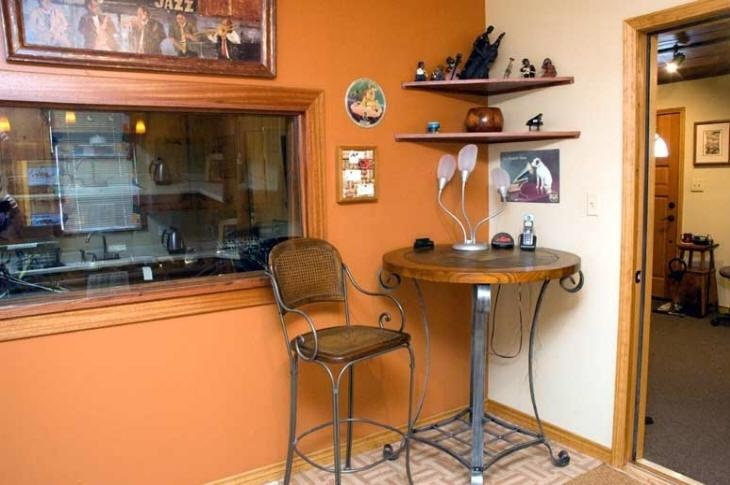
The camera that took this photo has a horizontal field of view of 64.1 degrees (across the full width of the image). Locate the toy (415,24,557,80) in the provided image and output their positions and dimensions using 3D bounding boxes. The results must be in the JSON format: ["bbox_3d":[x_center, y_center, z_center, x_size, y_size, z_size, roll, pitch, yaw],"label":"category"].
[{"bbox_3d":[0.845,-1.359,4.190,0.979,0.399,0.461,-1,12,4],"label":"toy"}]

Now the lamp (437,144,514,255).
[{"bbox_3d":[0.825,-0.332,4.164,0.630,0.738,0.485,-8,14,-28],"label":"lamp"}]

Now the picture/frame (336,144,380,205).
[{"bbox_3d":[-0.060,-0.466,3.929,0.386,0.457,0.060,-5,9,-31],"label":"picture/frame"}]

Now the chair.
[{"bbox_3d":[-0.111,0.772,3.642,0.912,1.571,0.958,-4,12,-9],"label":"chair"}]

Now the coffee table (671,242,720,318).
[{"bbox_3d":[3.836,0.407,6.768,0.528,0.819,0.412,6,14,31],"label":"coffee table"}]

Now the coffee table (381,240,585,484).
[{"bbox_3d":[0.708,0.787,4.219,1.491,1.629,1.443,-5,8,-39],"label":"coffee table"}]
